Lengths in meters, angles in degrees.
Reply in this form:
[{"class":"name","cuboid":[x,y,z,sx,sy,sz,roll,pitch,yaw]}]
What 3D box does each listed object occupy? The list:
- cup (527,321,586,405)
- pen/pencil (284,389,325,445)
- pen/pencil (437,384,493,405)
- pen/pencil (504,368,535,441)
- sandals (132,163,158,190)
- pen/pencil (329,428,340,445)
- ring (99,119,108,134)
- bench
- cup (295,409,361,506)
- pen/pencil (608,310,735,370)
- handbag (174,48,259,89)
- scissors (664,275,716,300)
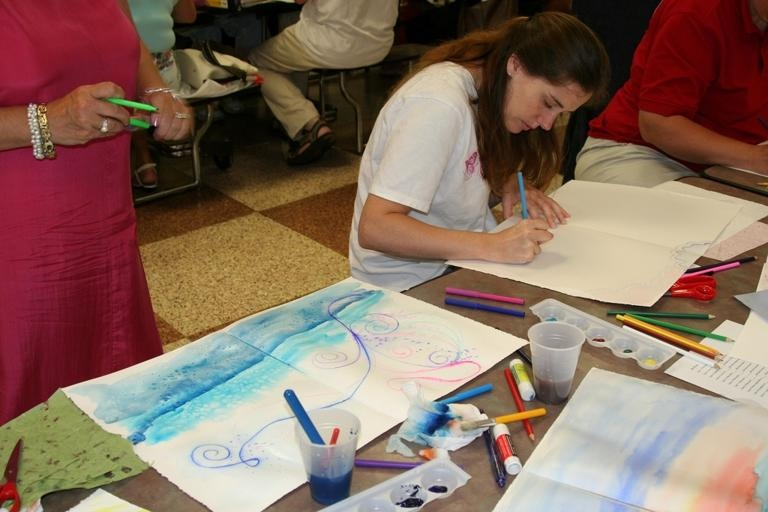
[{"class":"cup","cuboid":[0.310,0.200,1.020,0.101,0.114,0.101,-2,14,1]},{"class":"pen/pencil","cuboid":[-0.131,0.260,0.894,0.021,0.024,0.136,-32,44,-12]},{"class":"pen/pencil","cuboid":[0.146,0.247,1.005,0.115,0.017,0.024,-17,41,-20]},{"class":"pen/pencil","cuboid":[0.237,0.256,0.996,0.015,0.015,0.136,-29,36,5]},{"class":"sandals","cuboid":[-1.459,-0.494,3.406,0.094,0.083,0.232,-18,36,-25]},{"class":"pen/pencil","cuboid":[-0.076,0.275,0.860,0.007,0.008,0.027,15,58,10]},{"class":"ring","cuboid":[-0.624,-0.289,1.246,0.019,0.025,0.027,4,35,-8]},{"class":"bench","cuboid":[-0.942,-0.974,3.491,1.227,0.547,0.776,11,36,22]},{"class":"cup","cuboid":[-0.089,0.300,0.853,0.092,0.106,0.114,4,39,5]},{"class":"pen/pencil","cuboid":[0.578,0.174,1.134,0.228,0.024,0.026,24,-1,41]},{"class":"handbag","cuboid":[-0.948,-1.118,3.305,0.336,0.140,0.429,-21,26,-28]},{"class":"scissors","cuboid":[0.710,0.071,1.277,0.073,0.017,0.072,-10,18,-4]}]
